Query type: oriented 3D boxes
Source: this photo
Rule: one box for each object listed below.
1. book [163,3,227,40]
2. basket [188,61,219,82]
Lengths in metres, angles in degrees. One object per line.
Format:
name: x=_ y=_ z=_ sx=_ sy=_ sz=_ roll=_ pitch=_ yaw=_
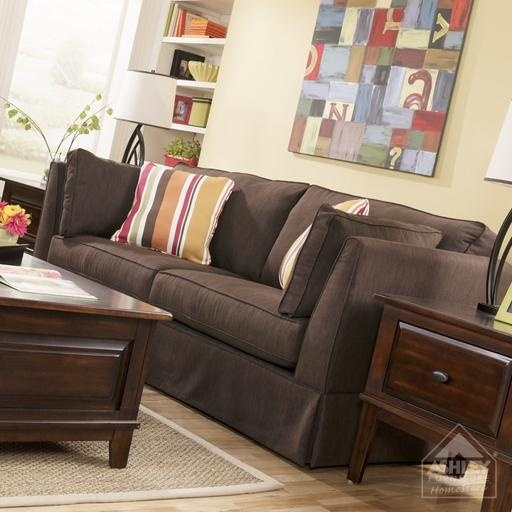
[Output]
book: x=-0.534 y=-2.085 z=4.354 sx=0.577 sy=0.166 sz=0.560 roll=8 pitch=6 yaw=32
basket: x=-0.454 y=-1.585 z=4.106 sx=0.351 sy=0.141 sz=0.109 roll=15 pitch=5 yaw=38
